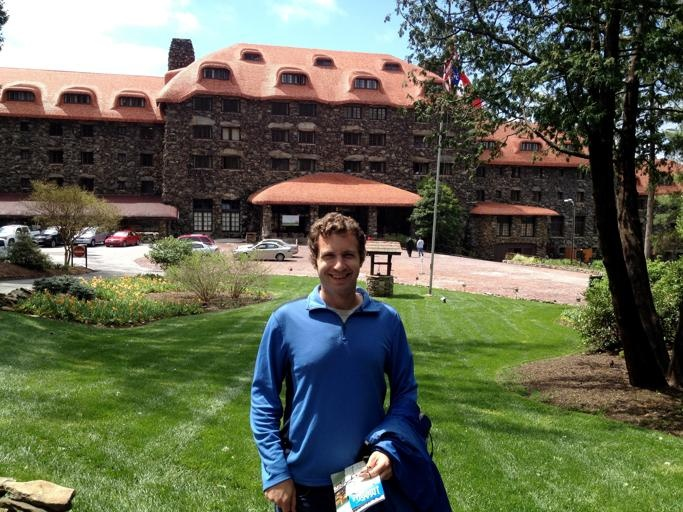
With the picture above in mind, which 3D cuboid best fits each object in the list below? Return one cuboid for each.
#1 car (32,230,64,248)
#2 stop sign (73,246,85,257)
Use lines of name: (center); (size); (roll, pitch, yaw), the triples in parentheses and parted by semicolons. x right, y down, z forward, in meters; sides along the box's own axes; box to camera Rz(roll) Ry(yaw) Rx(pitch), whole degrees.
car: (-19.568, -1.107, 42.368); (1.687, 1.235, 3.698); (0, -4, -12)
stop sign: (-12.646, -0.248, 30.621); (0.528, 0.484, 0.988); (2, -3, -24)
